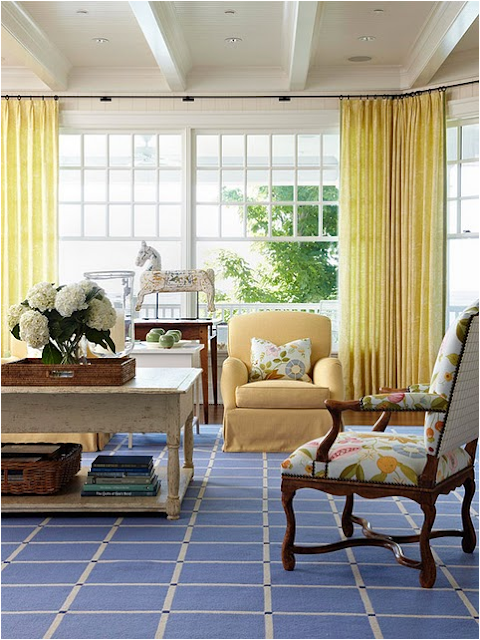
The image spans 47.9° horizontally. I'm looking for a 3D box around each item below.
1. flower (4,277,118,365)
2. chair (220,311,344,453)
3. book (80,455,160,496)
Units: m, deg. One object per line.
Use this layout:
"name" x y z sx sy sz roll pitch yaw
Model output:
"flower" -0.745 -0.007 2.242 0.413 0.275 0.391 -2 6 -15
"chair" 0.295 0.425 3.846 0.909 0.965 0.946 0 -1 -10
"book" -0.530 0.700 2.410 0.274 0.113 0.199 1 0 -1
